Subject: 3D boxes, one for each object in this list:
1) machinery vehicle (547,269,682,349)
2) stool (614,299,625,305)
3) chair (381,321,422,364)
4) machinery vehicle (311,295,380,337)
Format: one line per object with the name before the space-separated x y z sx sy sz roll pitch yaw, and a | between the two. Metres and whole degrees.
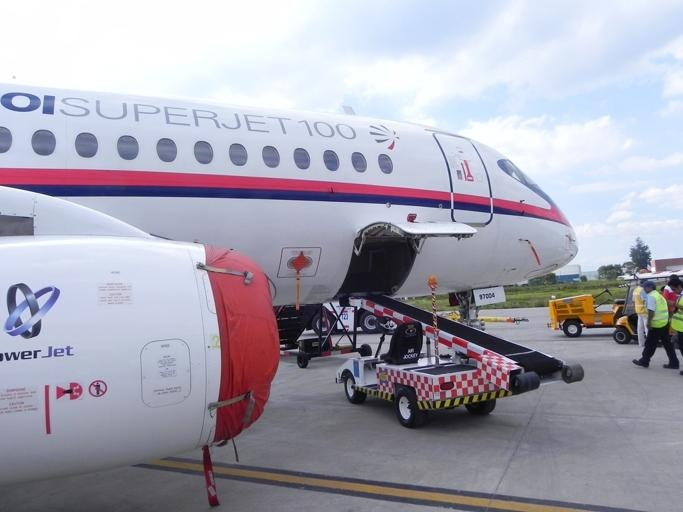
machinery vehicle | 9.457 1.861 17.109 4.137 2.276 2.234 -2 -2 13
stool | 9.269 1.556 17.068 0.246 0.144 0.575 -4 -3 29
chair | 1.132 1.633 9.568 0.625 0.847 0.739 -2 2 -14
machinery vehicle | 0.140 2.405 20.997 2.851 1.234 1.681 -5 12 -6
